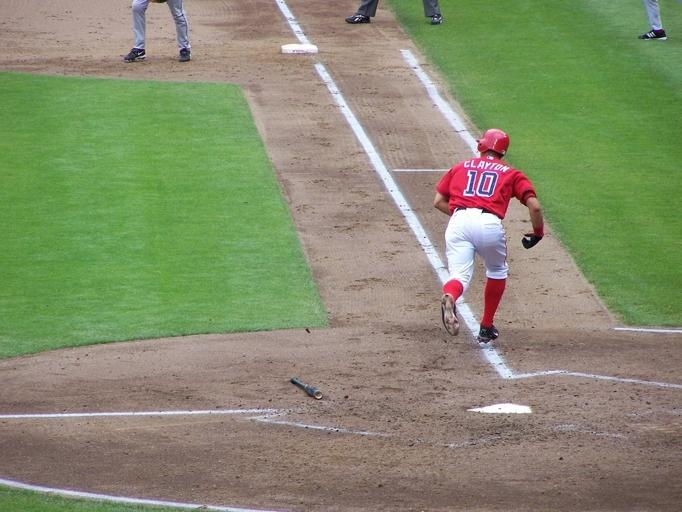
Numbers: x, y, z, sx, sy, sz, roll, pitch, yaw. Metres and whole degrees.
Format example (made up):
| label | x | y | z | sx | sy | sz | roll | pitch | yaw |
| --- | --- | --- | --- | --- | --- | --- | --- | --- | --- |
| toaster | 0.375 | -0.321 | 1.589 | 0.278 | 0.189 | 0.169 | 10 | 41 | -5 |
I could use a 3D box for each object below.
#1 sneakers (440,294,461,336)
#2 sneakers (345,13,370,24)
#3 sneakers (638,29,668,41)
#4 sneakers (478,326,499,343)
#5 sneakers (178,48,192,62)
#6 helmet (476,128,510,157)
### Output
| label | x | y | z | sx | sy | sz | roll | pitch | yaw |
| --- | --- | --- | --- | --- | --- | --- | --- | --- | --- |
| sneakers | 1.208 | 0.648 | 16.932 | 0.223 | 0.423 | 0.233 | -10 | -1 | 20 |
| sneakers | 0.251 | -4.088 | 26.415 | 0.501 | 0.155 | 0.150 | 2 | 9 | -2 |
| sneakers | 5.158 | -3.682 | 25.397 | 0.498 | 0.148 | 0.150 | 4 | 26 | 5 |
| sneakers | 1.652 | 0.889 | 17.414 | 0.140 | 0.110 | 0.301 | 3 | 10 | 19 |
| sneakers | -2.521 | -3.183 | 24.207 | 0.246 | 0.211 | 0.570 | -1 | 11 | -1 |
| helmet | 1.716 | -1.324 | 17.562 | 0.340 | 0.207 | 0.410 | 4 | 15 | -24 |
